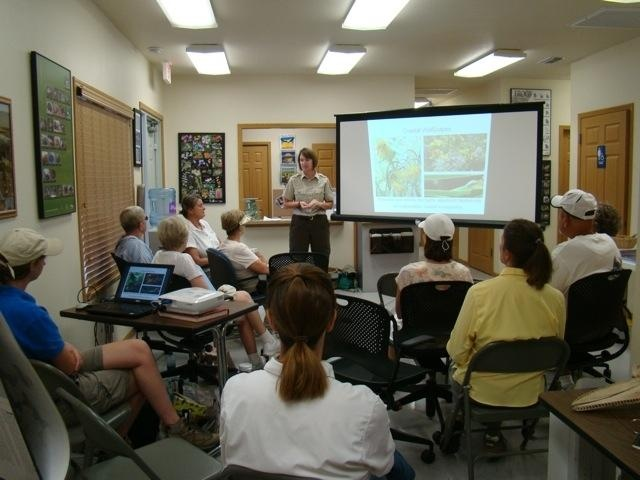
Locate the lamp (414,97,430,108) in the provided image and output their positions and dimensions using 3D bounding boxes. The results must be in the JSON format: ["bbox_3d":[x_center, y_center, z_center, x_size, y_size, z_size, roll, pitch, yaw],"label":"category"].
[{"bbox_3d":[2.053,-2.654,9.064,0.320,0.146,1.094,0,8,13],"label":"lamp"}]

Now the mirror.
[{"bbox_3d":[-0.505,-1.133,7.104,1.583,1.905,0.125,0,3,-5],"label":"mirror"}]

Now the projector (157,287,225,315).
[{"bbox_3d":[-0.713,0.332,2.511,0.174,0.070,0.182,3,5,31],"label":"projector"}]

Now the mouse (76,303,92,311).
[{"bbox_3d":[-1.358,0.381,2.651,0.039,0.019,0.075,1,4,0],"label":"mouse"}]

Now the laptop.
[{"bbox_3d":[-1.077,0.220,2.639,0.337,0.232,0.318,1,4,21],"label":"laptop"}]

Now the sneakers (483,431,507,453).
[{"bbox_3d":[0.946,1.084,2.465,0.058,0.078,0.172,-3,-3,14],"label":"sneakers"}]

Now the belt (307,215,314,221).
[{"bbox_3d":[-0.104,-0.252,5.499,0.067,0.061,0.019,-3,7,-11],"label":"belt"}]

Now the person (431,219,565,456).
[{"bbox_3d":[0.907,0.535,2.243,0.560,1.246,0.388,0,7,15],"label":"person"}]

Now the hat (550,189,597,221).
[{"bbox_3d":[1.660,-0.237,3.067,0.196,0.156,0.287,-5,18,-23],"label":"hat"}]
